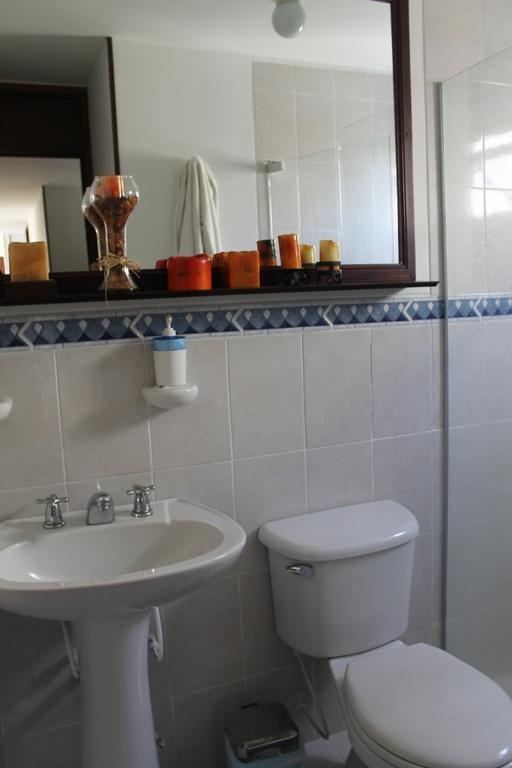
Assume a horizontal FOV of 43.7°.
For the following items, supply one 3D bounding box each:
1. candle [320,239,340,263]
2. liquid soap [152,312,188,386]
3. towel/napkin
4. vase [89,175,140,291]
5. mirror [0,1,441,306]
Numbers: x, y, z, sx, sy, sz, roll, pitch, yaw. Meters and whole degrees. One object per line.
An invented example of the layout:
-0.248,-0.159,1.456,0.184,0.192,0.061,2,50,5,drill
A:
0.175,-0.318,1.532,0.050,0.063,0.052,0,5,4,candle
-0.191,-0.069,1.414,0.070,0.162,0.143,-3,11,-5,liquid soap
-0.135,-0.397,1.425,0.108,0.210,0.020,-8,12,-27,towel/napkin
-0.293,-0.311,1.321,0.097,0.229,0.056,-5,11,-14,vase
-0.109,-0.520,1.424,0.734,0.572,0.015,-4,7,-22,mirror
